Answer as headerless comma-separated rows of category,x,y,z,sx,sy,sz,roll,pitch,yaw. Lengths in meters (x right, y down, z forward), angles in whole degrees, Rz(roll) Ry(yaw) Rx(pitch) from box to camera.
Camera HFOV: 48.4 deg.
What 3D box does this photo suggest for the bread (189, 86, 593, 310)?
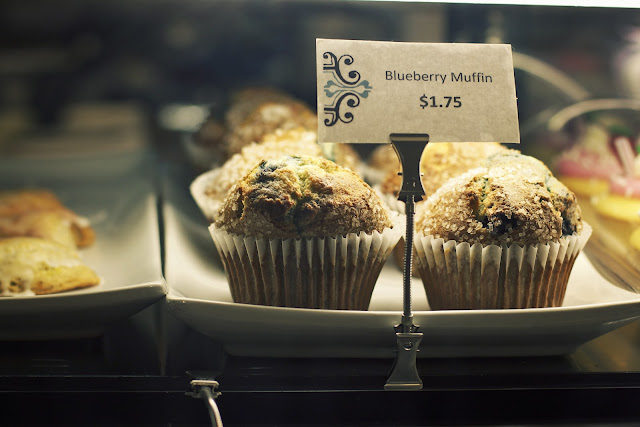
bread,0.173,-0.021,1.715,0.800,0.288,0.499,2,32,2
